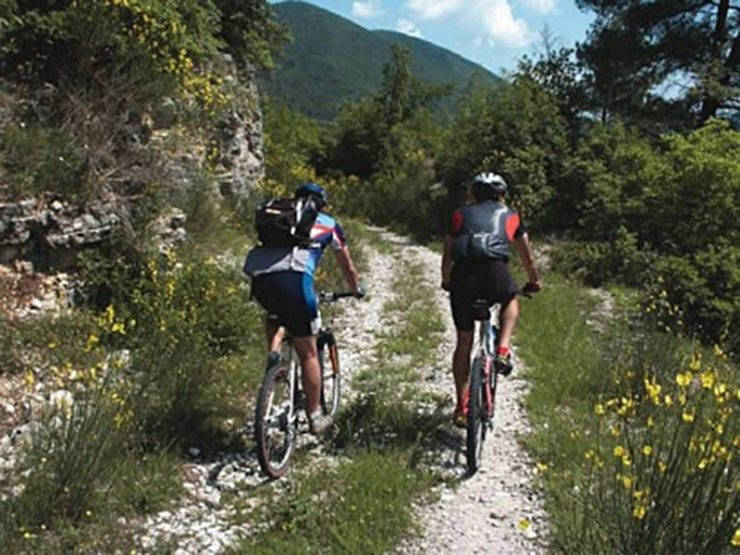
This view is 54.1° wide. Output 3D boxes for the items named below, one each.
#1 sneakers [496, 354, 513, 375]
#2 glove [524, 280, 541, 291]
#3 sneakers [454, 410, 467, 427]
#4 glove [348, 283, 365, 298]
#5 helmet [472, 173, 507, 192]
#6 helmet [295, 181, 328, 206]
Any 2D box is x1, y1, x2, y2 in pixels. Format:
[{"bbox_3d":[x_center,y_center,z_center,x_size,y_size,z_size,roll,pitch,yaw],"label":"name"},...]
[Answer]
[{"bbox_3d":[1.965,1.302,10.755,0.202,0.323,0.274,9,2,41],"label":"sneakers"},{"bbox_3d":[2.520,0.117,11.204,0.173,0.157,0.200,11,51,11],"label":"glove"},{"bbox_3d":[1.320,2.078,10.627,0.199,0.259,0.254,7,11,9],"label":"sneakers"},{"bbox_3d":[-0.189,0.215,11.239,0.124,0.197,0.397,5,7,13],"label":"glove"},{"bbox_3d":[1.930,-1.480,11.258,0.356,0.227,0.555,9,7,28],"label":"helmet"},{"bbox_3d":[-0.849,-1.309,10.884,0.394,0.430,0.313,-22,25,-36],"label":"helmet"}]
